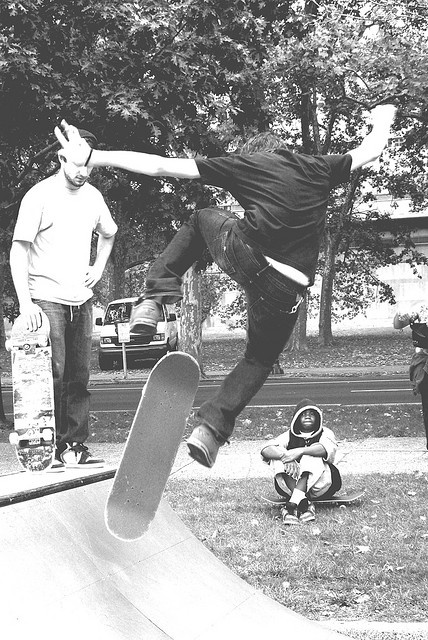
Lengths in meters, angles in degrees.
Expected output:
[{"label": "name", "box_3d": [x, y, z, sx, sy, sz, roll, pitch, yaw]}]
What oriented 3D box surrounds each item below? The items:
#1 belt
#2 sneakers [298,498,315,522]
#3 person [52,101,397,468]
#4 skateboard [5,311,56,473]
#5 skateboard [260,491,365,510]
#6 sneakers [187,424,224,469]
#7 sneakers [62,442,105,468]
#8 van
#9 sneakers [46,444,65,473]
[{"label": "belt", "box_3d": [0.283, -0.222, 3.589, 0.296, 0.169, 0.090, -1, 5, -28]}, {"label": "sneakers", "box_3d": [0.599, 1.257, 5.774, 0.081, 0.112, 0.257, -4, -13, 8]}, {"label": "person", "box_3d": [-0.015, -0.389, 3.948, 1.465, 1.929, 0.905, 6, -21, 13]}, {"label": "skateboard", "box_3d": [-0.913, 0.374, 4.427, 0.208, 0.888, 0.126, -2, -4, -7]}, {"label": "skateboard", "box_3d": [0.676, 1.243, 6.002, 0.564, 0.106, 0.143, -2, 2, 2]}, {"label": "sneakers", "box_3d": [-0.048, 0.557, 3.780, 0.086, 0.107, 0.234, 25, -20, 30]}, {"label": "sneakers", "box_3d": [-0.719, 0.738, 4.775, 0.320, 0.148, 0.111, -4, -5, 29]}, {"label": "van", "box_3d": [-1.988, 0.252, 21.014, 1.589, 1.436, 2.875, -1, -5, 11]}, {"label": "sneakers", "box_3d": [-0.819, 0.743, 4.551, 0.079, 0.107, 0.245, 0, -12, -5]}]
